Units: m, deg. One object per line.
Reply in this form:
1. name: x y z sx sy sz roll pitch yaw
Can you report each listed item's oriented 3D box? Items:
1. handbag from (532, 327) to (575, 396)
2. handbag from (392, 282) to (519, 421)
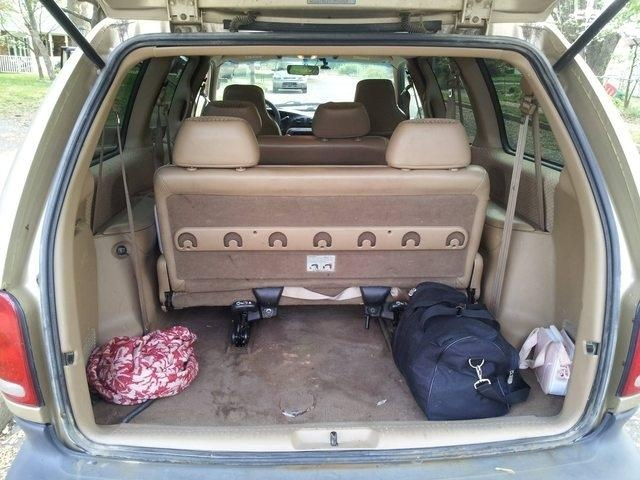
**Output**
1. handbag: 1.118 0.578 2.409 0.080 0.274 0.204 14 -7 -25
2. handbag: 0.622 0.536 2.489 0.391 0.360 0.625 -3 21 -4
